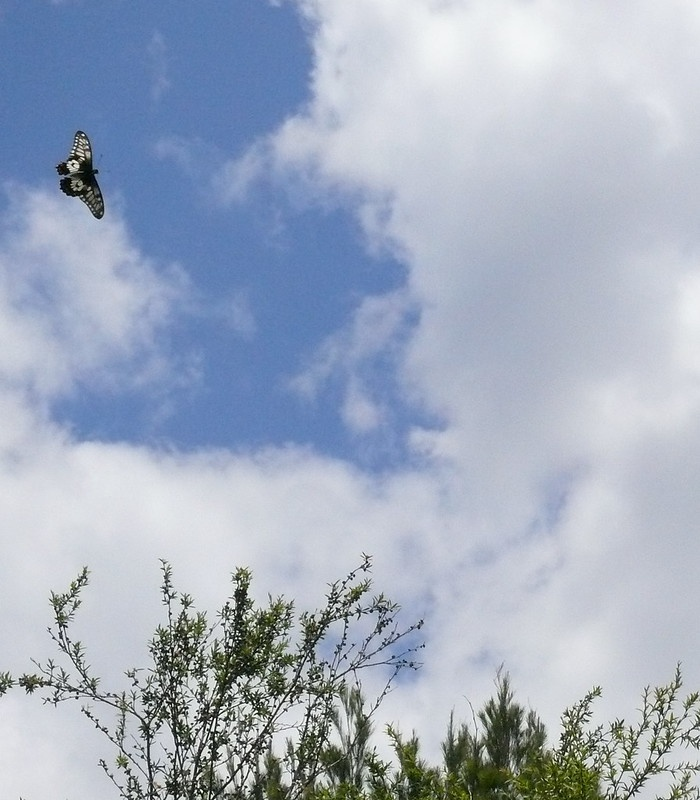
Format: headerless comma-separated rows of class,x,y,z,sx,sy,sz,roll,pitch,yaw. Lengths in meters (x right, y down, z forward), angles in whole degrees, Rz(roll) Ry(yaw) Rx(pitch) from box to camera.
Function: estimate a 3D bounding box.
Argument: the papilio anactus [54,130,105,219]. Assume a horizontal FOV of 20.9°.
papilio anactus,-2.994,-2.430,20.737,0.455,0.879,0.797,-3,-41,-7
